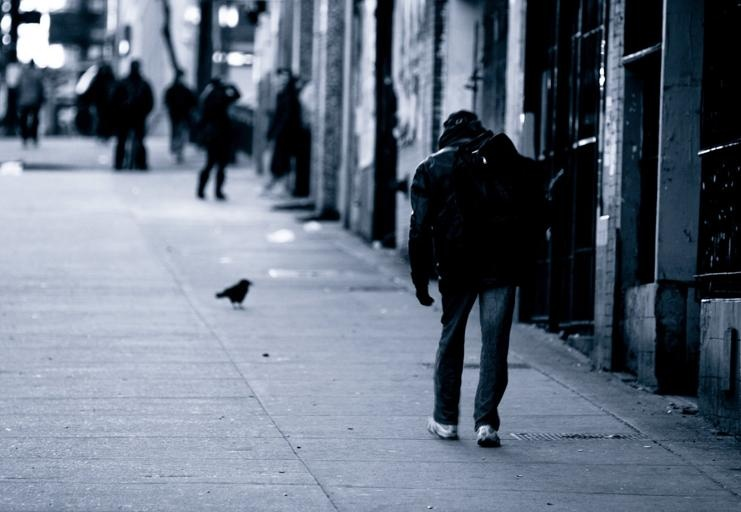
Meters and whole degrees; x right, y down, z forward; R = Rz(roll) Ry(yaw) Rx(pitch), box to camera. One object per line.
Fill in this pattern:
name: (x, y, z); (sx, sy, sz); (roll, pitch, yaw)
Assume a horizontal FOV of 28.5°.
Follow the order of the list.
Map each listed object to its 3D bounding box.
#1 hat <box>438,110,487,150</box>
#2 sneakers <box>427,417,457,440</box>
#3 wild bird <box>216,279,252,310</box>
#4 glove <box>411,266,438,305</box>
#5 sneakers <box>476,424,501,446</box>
hat: (0.771, -1.062, 11.906); (0.359, 0.295, 0.256); (5, 25, 14)
sneakers: (0.575, 1.425, 11.867); (0.105, 0.115, 0.285); (-6, 16, -31)
wild bird: (-1.550, 0.446, 16.222); (0.511, 0.352, 0.229); (0, -8, 12)
glove: (0.439, 0.254, 11.752); (0.225, 0.292, 0.083); (-20, -2, 39)
sneakers: (0.940, 1.458, 11.602); (0.201, 0.174, 0.137); (3, 12, 5)
